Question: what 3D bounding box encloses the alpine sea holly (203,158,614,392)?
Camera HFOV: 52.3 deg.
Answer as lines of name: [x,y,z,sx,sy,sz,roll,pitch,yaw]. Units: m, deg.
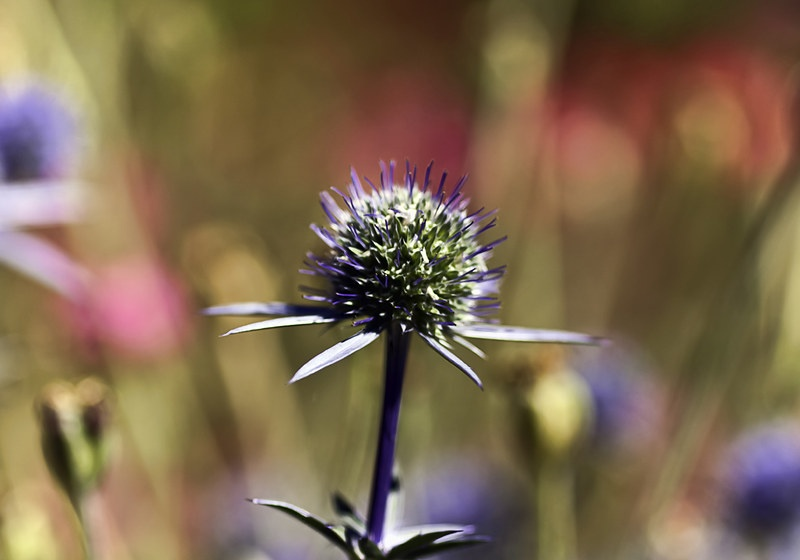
alpine sea holly: [-0.015,-0.063,1.801,0.762,0.351,0.820,-1,-8,38]
